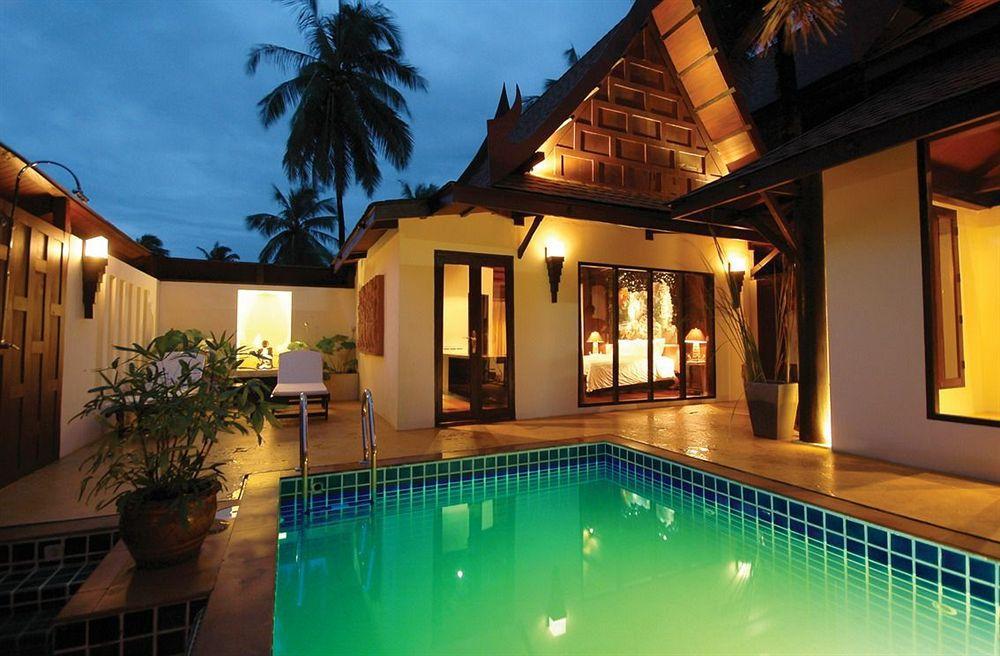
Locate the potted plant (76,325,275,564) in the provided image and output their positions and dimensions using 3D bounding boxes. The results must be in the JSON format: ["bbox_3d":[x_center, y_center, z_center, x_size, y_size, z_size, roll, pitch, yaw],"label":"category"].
[{"bbox_3d":[-4.002,1.318,8.187,1.563,2.480,3.735,2,-6,-31],"label":"potted plant"}]

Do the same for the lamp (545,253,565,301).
[{"bbox_3d":[0.930,-0.863,12.206,0.274,0.830,0.249,0,-6,-20],"label":"lamp"}]

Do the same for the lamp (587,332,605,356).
[{"bbox_3d":[1.868,0.332,13.522,0.365,0.579,0.386,-1,0,0],"label":"lamp"}]

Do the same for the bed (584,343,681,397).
[{"bbox_3d":[2.509,0.827,13.460,1.247,0.848,1.318,1,-2,-5],"label":"bed"}]

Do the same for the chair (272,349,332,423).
[{"bbox_3d":[-3.667,1.100,12.623,0.895,1.295,1.061,-1,4,-21],"label":"chair"}]
